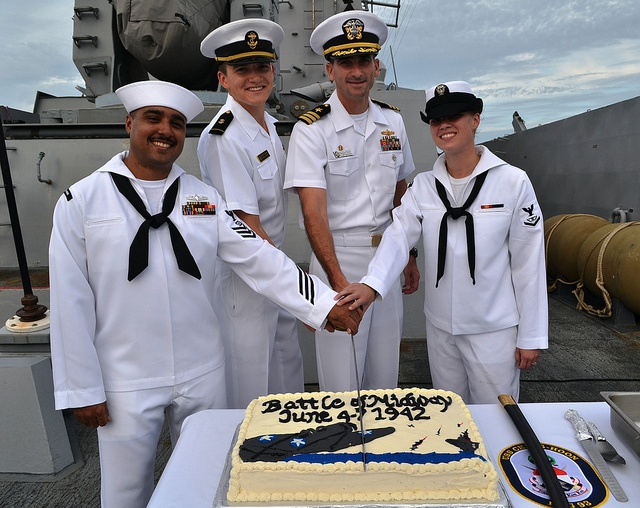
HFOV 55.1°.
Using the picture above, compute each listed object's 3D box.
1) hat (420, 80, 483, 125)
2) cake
[{"bbox_3d":[0.799,-0.934,3.759,0.352,0.225,0.187,-2,11,12],"label":"hat"},{"bbox_3d":[0.175,0.925,2.955,0.852,0.228,0.534,0,8,-2],"label":"cake"}]
